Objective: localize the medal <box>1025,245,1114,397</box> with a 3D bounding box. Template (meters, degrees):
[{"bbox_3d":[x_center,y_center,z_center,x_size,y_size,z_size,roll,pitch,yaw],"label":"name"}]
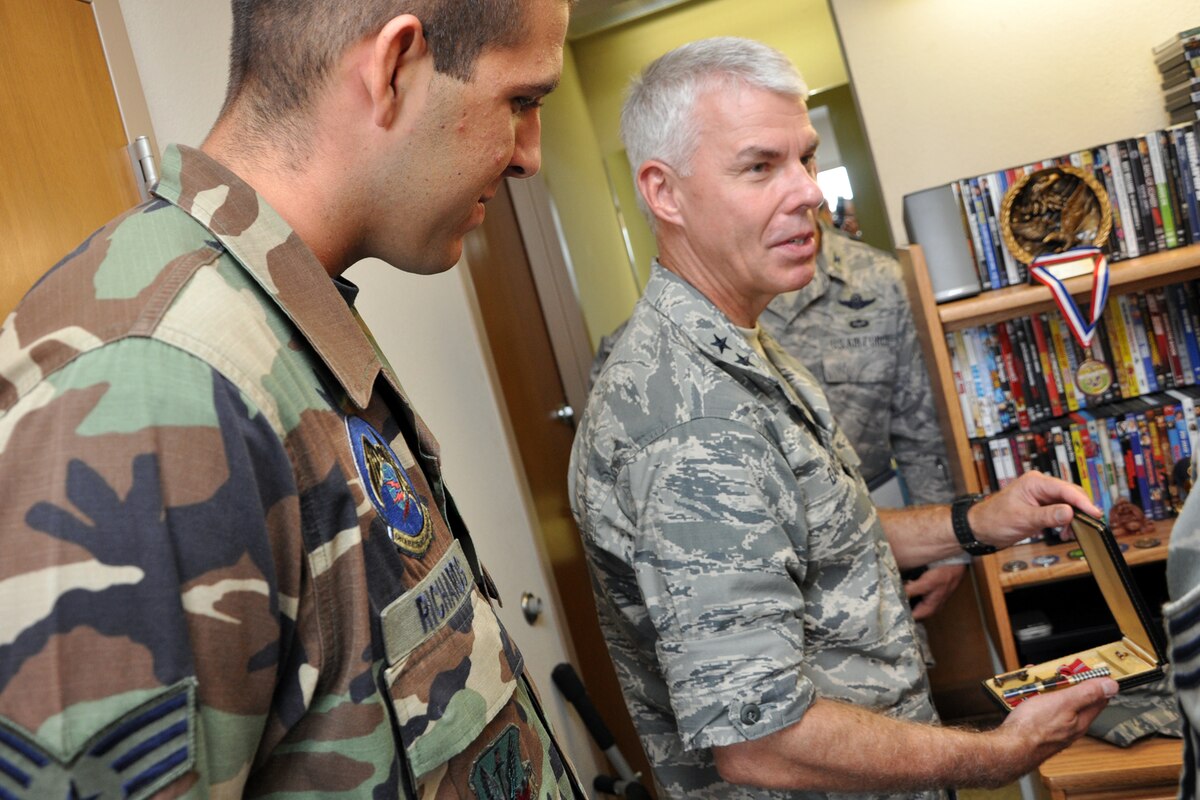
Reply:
[{"bbox_3d":[1.112,-0.182,2.110,0.174,0.342,0.112,-20,-13,39],"label":"medal"}]
